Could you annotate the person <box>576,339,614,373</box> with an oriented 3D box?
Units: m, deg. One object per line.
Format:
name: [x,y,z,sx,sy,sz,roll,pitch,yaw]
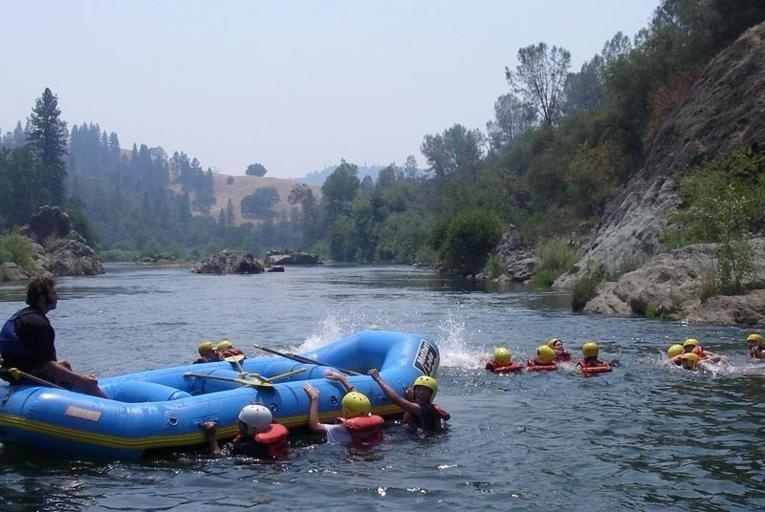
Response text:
person: [6.584,3.218,27.955,0.746,0.606,1.095,1,5,-2]

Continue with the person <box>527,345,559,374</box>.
person: [5.045,3.390,28.372,0.644,0.579,0.950,0,-12,-7]

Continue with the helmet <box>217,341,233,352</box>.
helmet: [-4.990,2.893,27.938,0.385,0.331,0.302,-23,22,0]

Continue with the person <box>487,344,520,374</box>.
person: [3.806,3.341,28.089,0.834,0.585,0.862,-4,8,-14]

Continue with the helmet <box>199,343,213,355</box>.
helmet: [-5.630,2.940,27.925,0.408,0.339,0.305,-25,28,-7]

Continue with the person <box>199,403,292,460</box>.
person: [-3.557,4.707,23.385,1.830,1.172,1.366,0,-14,4]

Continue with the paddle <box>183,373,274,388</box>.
paddle: [-4.235,3.531,24.824,1.983,0.105,0.857,2,-2,28]

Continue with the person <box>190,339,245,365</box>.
person: [-5.057,3.012,27.525,1.042,0.400,0.839,-16,-7,39]

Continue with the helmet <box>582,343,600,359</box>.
helmet: [6.460,3.011,27.787,0.405,0.501,0.512,-2,7,-23]
